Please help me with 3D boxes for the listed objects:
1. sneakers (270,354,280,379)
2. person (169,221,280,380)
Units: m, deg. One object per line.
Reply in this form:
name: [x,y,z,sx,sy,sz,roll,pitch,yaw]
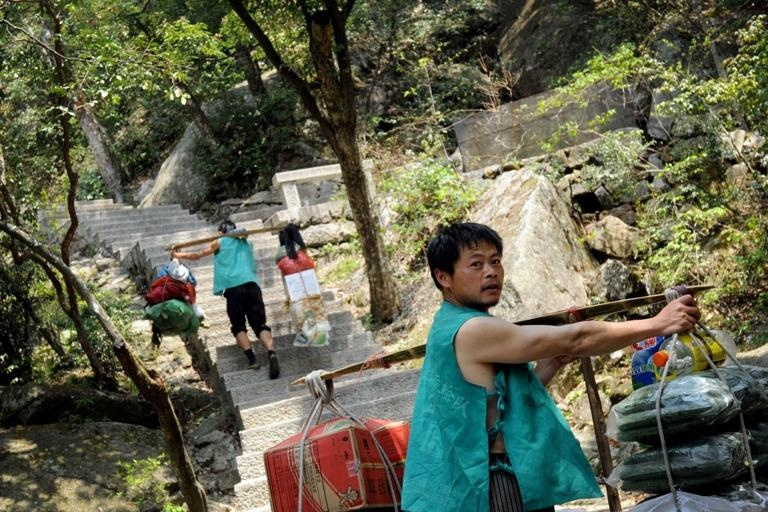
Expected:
sneakers: [-1.670,1.707,11.843,0.140,0.371,0.151,-3,8,-24]
person: [-2.191,0.681,12.160,0.716,2.602,1.072,-12,0,-42]
